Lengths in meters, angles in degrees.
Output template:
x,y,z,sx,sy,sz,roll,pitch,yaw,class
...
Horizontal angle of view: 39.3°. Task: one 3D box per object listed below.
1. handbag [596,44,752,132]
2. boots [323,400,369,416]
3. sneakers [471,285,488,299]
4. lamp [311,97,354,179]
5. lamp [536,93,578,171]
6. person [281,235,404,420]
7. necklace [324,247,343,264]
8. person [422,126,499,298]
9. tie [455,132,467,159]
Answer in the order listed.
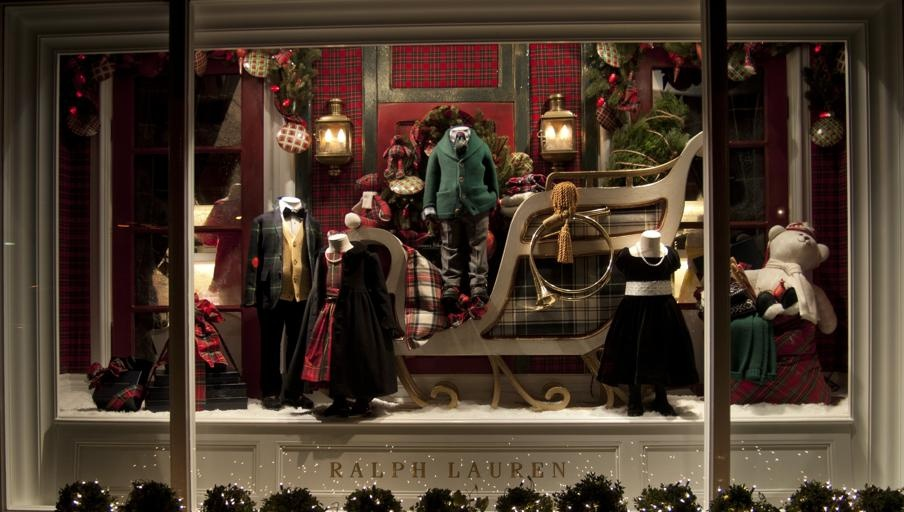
x,y,z,sx,sy,sz,roll,pitch,yaw,class
1.481,-1.324,9.727,0.810,0.655,0.330,-2,-6,7,handbag
-0.761,1.099,9.216,0.362,0.132,0.126,3,-2,-5,boots
0.188,0.264,9.339,0.130,0.097,0.072,-1,-6,0,sneakers
-0.942,-0.950,9.943,0.300,0.614,0.179,-1,-6,-6,lamp
0.811,-0.978,9.890,0.269,0.582,0.214,-2,-6,9,lamp
-0.819,0.497,9.276,0.821,1.340,0.272,-3,-6,14,person
-0.888,-0.005,9.365,0.124,0.117,0.124,-2,-25,1,necklace
0.053,-0.312,9.491,0.554,1.318,0.252,-1,-6,-1,person
0.057,-0.837,9.439,0.094,0.140,0.077,0,5,6,tie
